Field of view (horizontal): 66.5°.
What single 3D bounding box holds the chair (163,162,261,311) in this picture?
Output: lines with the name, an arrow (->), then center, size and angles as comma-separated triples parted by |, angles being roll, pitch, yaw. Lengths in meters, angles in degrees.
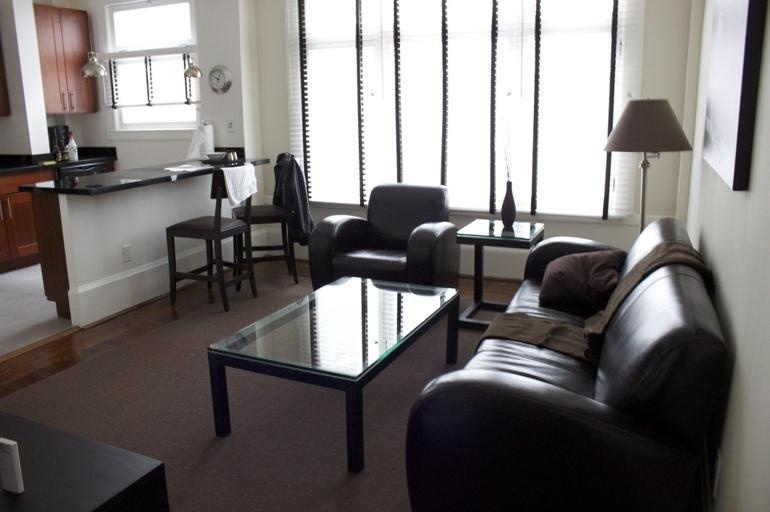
chair -> -1.500, -0.179, 5.135 | 0.713, 1.200, 0.684 | 1, 12, 3

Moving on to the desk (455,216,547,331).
desk -> 1.021, -0.014, 4.799 | 0.751, 0.979, 1.000 | 2, 13, 16

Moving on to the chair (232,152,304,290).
chair -> -1.119, -0.373, 5.683 | 0.696, 1.150, 0.789 | -4, 14, -24

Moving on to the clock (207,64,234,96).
clock -> -1.702, -1.828, 6.073 | 0.279, 0.294, 0.048 | 5, 17, 19

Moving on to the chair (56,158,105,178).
chair -> -3.440, -1.005, 6.661 | 0.235, 0.231, 0.354 | 7, 15, 20

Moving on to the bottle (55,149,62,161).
bottle -> -3.683, -1.139, 6.621 | 0.057, 0.100, 0.162 | -7, 17, -21

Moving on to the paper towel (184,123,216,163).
paper towel -> -1.919, -1.199, 6.089 | 0.246, 0.361, 0.330 | -3, 16, -7

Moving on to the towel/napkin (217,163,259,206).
towel/napkin -> -1.246, -0.630, 5.066 | 0.087, 0.316, 0.478 | -2, 15, 17

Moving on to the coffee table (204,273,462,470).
coffee table -> -0.230, 0.603, 3.815 | 0.981, 0.541, 1.544 | 6, 19, 24
